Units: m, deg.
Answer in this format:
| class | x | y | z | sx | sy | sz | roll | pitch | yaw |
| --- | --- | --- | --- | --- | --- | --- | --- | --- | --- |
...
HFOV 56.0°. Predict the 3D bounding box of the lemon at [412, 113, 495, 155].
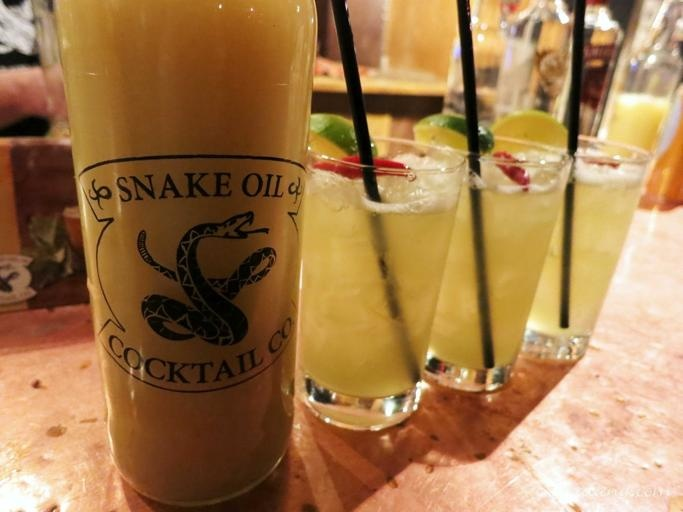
| class | x | y | z | sx | sy | sz | roll | pitch | yaw |
| --- | --- | --- | --- | --- | --- | --- | --- | --- | --- |
| lemon | 0.160 | -0.182 | 0.949 | 0.068 | 0.039 | 0.127 | -30 | 36 | -29 |
